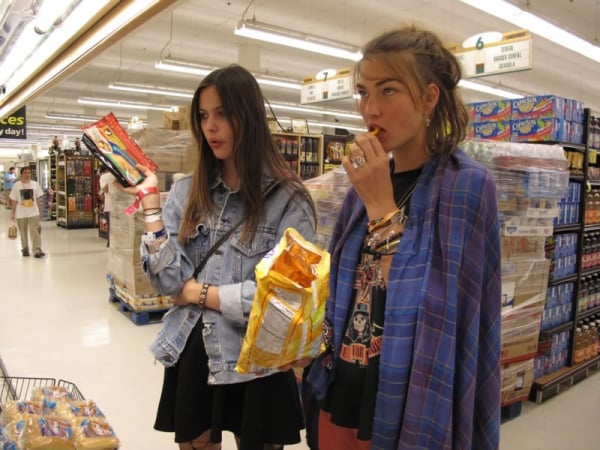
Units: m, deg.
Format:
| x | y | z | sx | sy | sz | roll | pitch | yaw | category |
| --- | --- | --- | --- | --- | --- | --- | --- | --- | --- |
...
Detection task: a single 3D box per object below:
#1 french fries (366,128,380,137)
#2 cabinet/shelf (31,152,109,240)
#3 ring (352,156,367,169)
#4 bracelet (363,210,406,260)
| x | y | z | sx | sy | sz | roll | pitch | yaw | category |
| --- | --- | --- | --- | --- | --- | --- | --- | --- | --- |
| 0.235 | -0.294 | 1.364 | 0.025 | 0.012 | 0.035 | -17 | 33 | 33 | french fries |
| -6.735 | -0.797 | 12.929 | 0.931 | 2.723 | 2.743 | -3 | -4 | -30 | cabinet/shelf |
| 0.184 | -0.196 | 1.377 | 0.032 | 0.045 | 0.015 | 1 | 3 | 30 | ring |
| 0.287 | 0.039 | 1.439 | 0.114 | 0.151 | 0.076 | 35 | 1 | 25 | bracelet |
